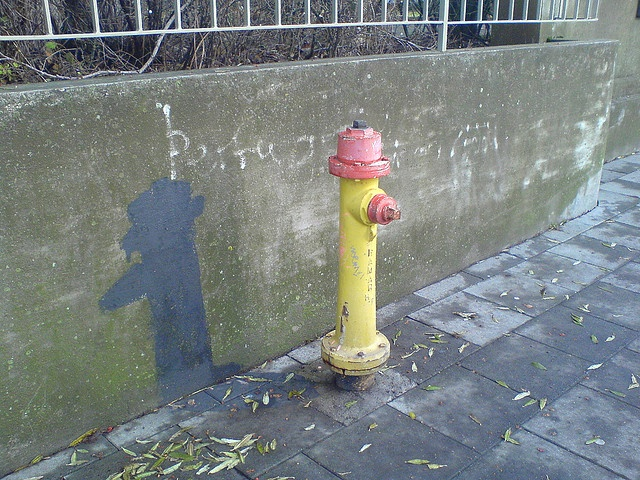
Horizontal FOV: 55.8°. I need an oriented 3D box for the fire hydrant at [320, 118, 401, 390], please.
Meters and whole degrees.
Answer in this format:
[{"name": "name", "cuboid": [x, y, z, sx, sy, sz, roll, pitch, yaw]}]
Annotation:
[{"name": "fire hydrant", "cuboid": [0.277, 0.146, 4.342, 0.564, 1.918, 0.665, 2, 25, 9]}]
